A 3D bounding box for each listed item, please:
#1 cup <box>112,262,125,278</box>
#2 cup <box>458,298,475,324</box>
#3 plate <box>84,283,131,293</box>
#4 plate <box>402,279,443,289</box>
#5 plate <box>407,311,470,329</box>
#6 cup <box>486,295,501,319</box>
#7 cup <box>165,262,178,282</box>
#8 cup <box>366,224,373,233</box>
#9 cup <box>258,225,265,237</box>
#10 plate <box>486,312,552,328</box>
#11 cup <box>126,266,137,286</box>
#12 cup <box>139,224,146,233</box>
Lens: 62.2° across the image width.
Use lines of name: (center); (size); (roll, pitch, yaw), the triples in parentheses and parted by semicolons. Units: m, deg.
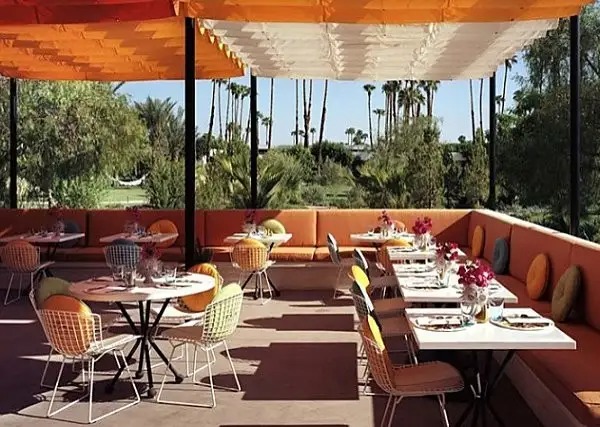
cup: (-1.912, 0.589, 5.234); (0.135, 0.205, 0.149); (0, 2, 0)
cup: (1.427, 0.834, 4.238); (0.146, 0.202, 0.169); (1, 4, 19)
plate: (-1.936, 0.749, 5.007); (0.448, 0.028, 0.257); (2, 12, 11)
plate: (1.280, 0.727, 5.165); (0.438, 0.033, 0.242); (-1, 12, -1)
plate: (1.182, 0.915, 4.299); (0.468, 0.056, 0.321); (1, 12, 8)
cup: (1.672, 0.806, 4.287); (0.131, 0.182, 0.154); (1, 3, 8)
cup: (-1.371, 0.616, 5.249); (0.108, 0.175, 0.226); (-3, 12, -14)
cup: (1.163, 0.258, 8.292); (0.098, 0.135, 0.109); (0, 3, 18)
cup: (-0.662, 0.291, 8.525); (0.125, 0.237, 0.130); (-2, -1, 0)
plate: (1.880, 0.915, 4.222); (0.486, 0.033, 0.284); (-4, 12, -15)
cup: (-1.735, 0.644, 5.065); (0.102, 0.169, 0.105); (-1, 11, 0)
cup: (-2.759, 0.273, 8.669); (0.114, 0.159, 0.127); (-1, 1, -7)
